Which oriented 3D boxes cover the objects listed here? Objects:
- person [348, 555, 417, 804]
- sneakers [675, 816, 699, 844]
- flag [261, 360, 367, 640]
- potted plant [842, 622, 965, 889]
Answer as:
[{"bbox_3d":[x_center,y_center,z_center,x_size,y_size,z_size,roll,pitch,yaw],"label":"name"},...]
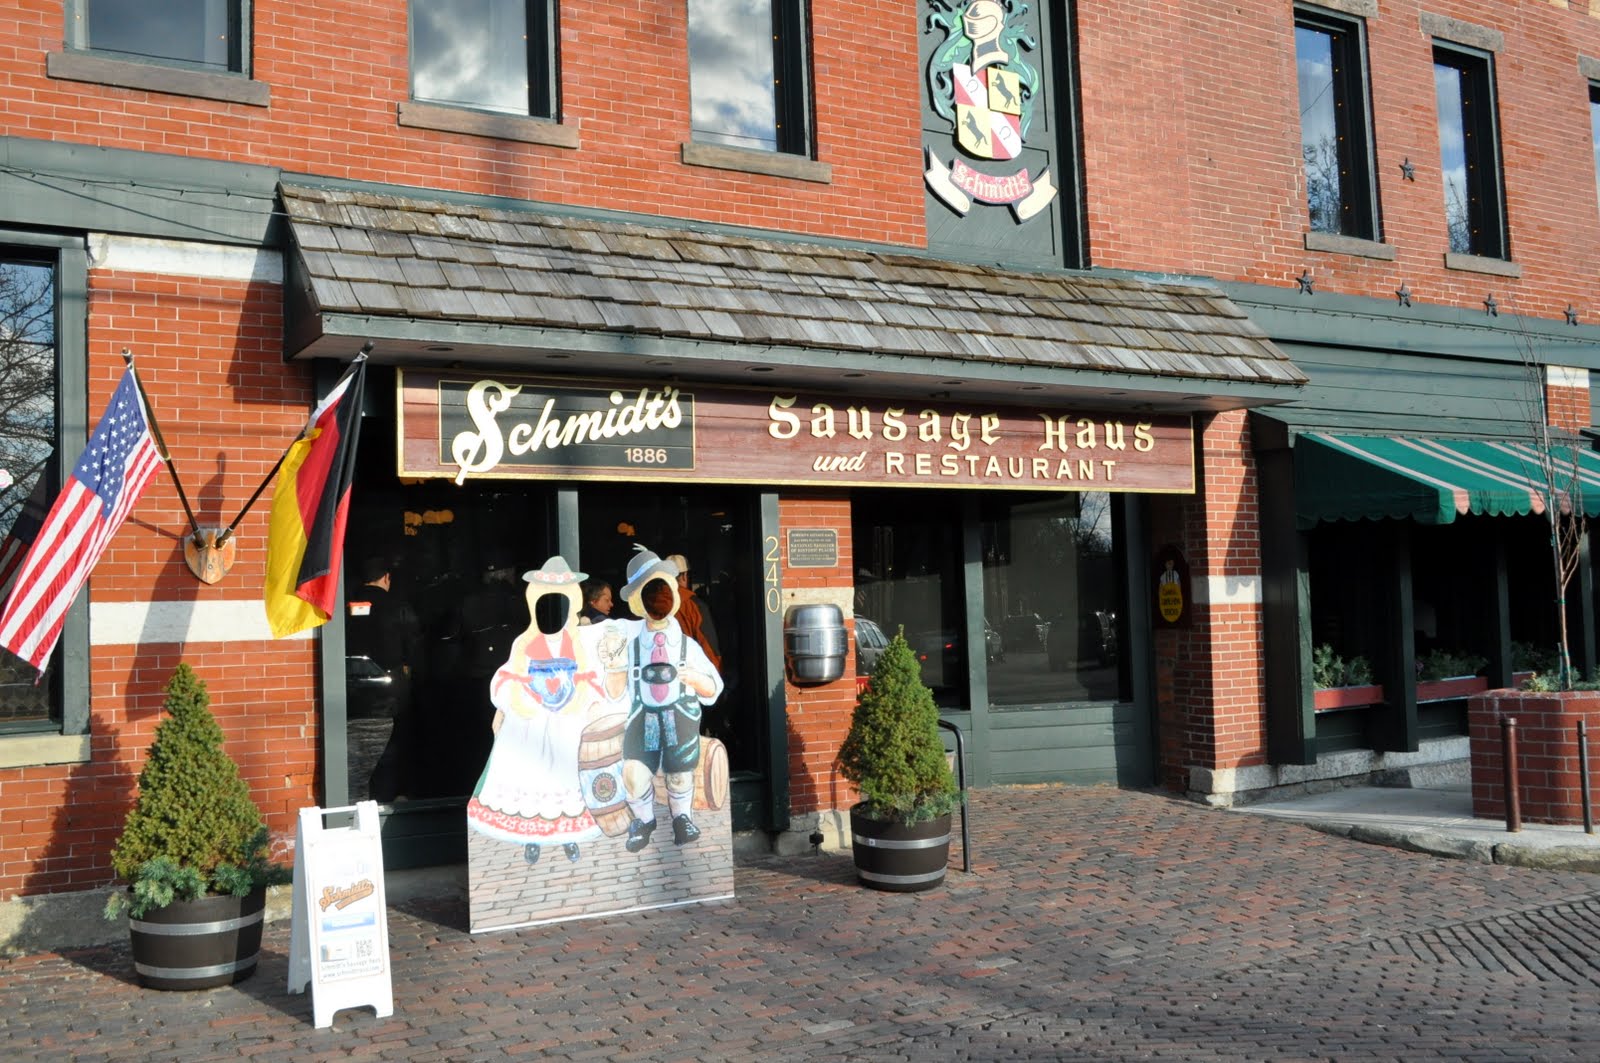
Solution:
[{"bbox_3d":[-3.506,1.260,12.894,0.410,1.961,0.616,-2,11,-4],"label":"person"},{"bbox_3d":[-0.941,2.429,12.313,0.251,0.224,0.147,0,0,1],"label":"sneakers"},{"bbox_3d":[-3.677,-0.275,11.348,0.790,2.041,0.678,-1,11,-2],"label":"flag"},{"bbox_3d":[0.848,1.958,12.663,0.835,2.008,0.761,-5,12,-21],"label":"potted plant"}]
